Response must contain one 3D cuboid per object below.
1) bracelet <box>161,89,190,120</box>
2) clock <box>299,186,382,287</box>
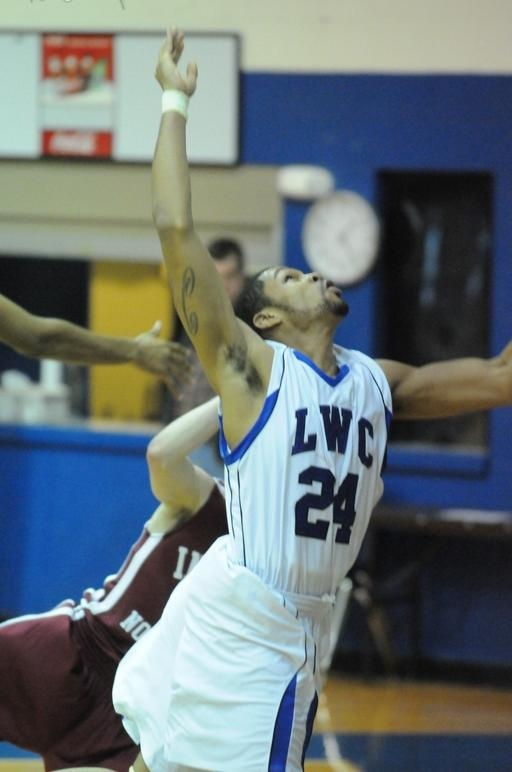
[{"bbox_3d":[-0.170,-0.566,2.860,0.054,0.064,0.061,3,8,15],"label":"bracelet"},{"bbox_3d":[0.243,-0.444,4.102,0.299,0.376,0.039,14,26,40],"label":"clock"}]
